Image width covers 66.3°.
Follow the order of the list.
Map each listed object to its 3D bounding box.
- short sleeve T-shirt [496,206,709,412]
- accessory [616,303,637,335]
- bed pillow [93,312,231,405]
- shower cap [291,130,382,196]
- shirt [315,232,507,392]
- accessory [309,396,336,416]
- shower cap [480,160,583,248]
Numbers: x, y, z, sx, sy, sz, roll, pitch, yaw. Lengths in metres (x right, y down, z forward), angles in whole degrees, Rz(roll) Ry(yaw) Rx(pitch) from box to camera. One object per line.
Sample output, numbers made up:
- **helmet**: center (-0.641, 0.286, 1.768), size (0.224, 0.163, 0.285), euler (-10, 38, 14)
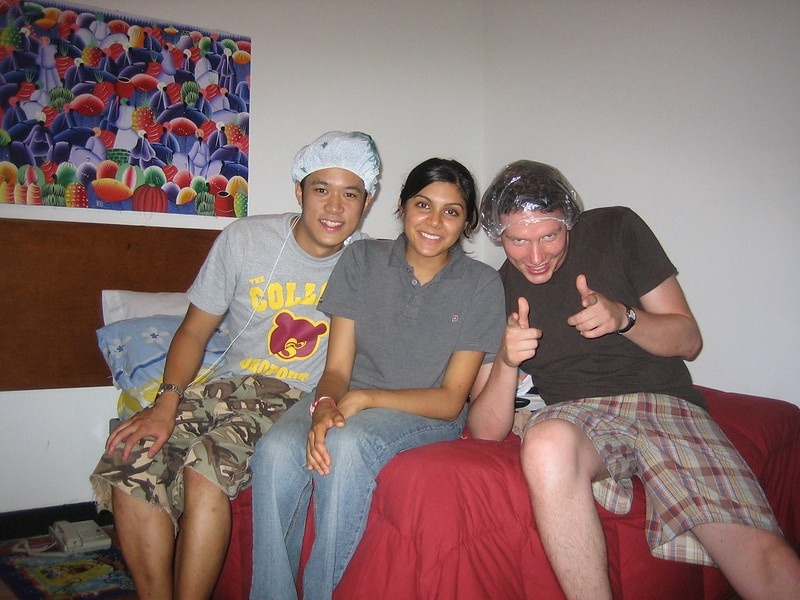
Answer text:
- **short sleeve T-shirt**: center (0.644, 0.091, 2.312), size (0.779, 0.795, 0.409), euler (-16, 22, 20)
- **accessory**: center (0.729, 0.065, 1.991), size (0.030, 0.077, 0.069), euler (14, 13, 5)
- **bed pillow**: center (-1.093, 0.228, 2.578), size (0.403, 0.447, 0.120), euler (-18, -17, -31)
- **shower cap**: center (-0.258, -0.528, 2.382), size (0.338, 0.158, 0.408), euler (-4, -30, -3)
- **shirt**: center (0.043, 0.056, 2.176), size (0.466, 0.405, 0.188), euler (23, -2, 0)
- **accessory**: center (-0.255, 0.352, 2.031), size (0.076, 0.070, 0.030), euler (-22, -2, 8)
- **shower cap**: center (0.456, -0.373, 2.218), size (0.363, 0.128, 0.374), euler (-1, 0, -40)
